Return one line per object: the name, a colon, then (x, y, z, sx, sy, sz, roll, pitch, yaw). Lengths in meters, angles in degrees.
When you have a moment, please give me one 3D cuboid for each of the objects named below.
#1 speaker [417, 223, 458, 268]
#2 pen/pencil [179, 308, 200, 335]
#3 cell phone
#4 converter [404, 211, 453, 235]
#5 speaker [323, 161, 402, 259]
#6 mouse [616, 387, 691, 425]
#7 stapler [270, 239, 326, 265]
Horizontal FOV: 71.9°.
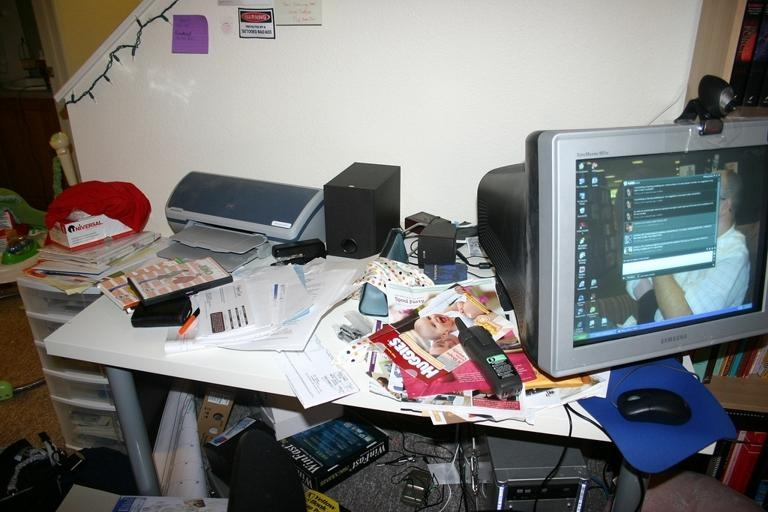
speaker: (0.202, -0.033, 1.979, 0.135, 0.133, 0.183, 2, 35, 10)
pen/pencil: (-0.611, 0.211, 1.661, 0.026, 0.027, 0.110, 25, 44, 8)
cell phone: (0.301, 0.292, 1.566, 0.091, 0.071, 0.267, -13, 42, -15)
converter: (0.153, -0.152, 2.195, 0.115, 0.041, 0.116, 18, 29, 30)
speaker: (-0.139, -0.200, 2.112, 0.237, 0.386, 0.341, 13, 26, 29)
mouse: (0.731, 0.405, 1.445, 0.161, 0.047, 0.093, 3, 41, 13)
stapler: (-0.318, -0.029, 2.025, 0.267, 0.126, 0.069, -3, 46, -13)
